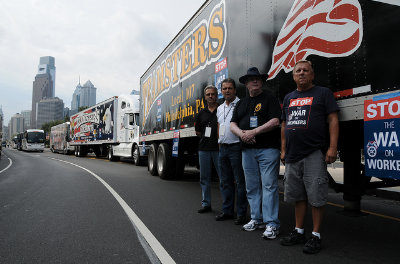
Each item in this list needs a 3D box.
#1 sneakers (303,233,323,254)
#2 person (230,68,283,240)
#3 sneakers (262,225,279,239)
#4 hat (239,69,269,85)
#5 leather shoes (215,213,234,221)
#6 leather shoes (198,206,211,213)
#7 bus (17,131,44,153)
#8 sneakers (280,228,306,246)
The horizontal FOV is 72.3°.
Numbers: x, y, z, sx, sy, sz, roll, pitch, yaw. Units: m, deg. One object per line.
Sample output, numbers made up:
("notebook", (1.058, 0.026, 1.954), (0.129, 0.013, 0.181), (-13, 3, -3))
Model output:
("sneakers", (1.761, 1.722, 4.228), (0.452, 0.234, 0.163), (-3, -1, -39))
("person", (1.022, 0.345, 4.918), (0.830, 2.975, 0.439), (0, -4, 18))
("sneakers", (1.230, 1.719, 4.670), (0.376, 0.207, 0.121), (4, -5, -34))
("hat", (0.950, -1.065, 5.056), (0.472, 0.218, 0.544), (-5, 1, -18))
("leather shoes", (0.501, 1.745, 5.659), (0.367, 0.185, 0.144), (5, -6, -19))
("leather shoes", (0.107, 1.743, 6.146), (0.323, 0.156, 0.118), (10, -11, -43))
("bus", (-28.922, 1.617, 47.399), (3.517, 3.706, 2.244), (-1, -4, 22))
("sneakers", (1.528, 1.722, 4.539), (0.530, 0.297, 0.186), (4, -8, -26))
